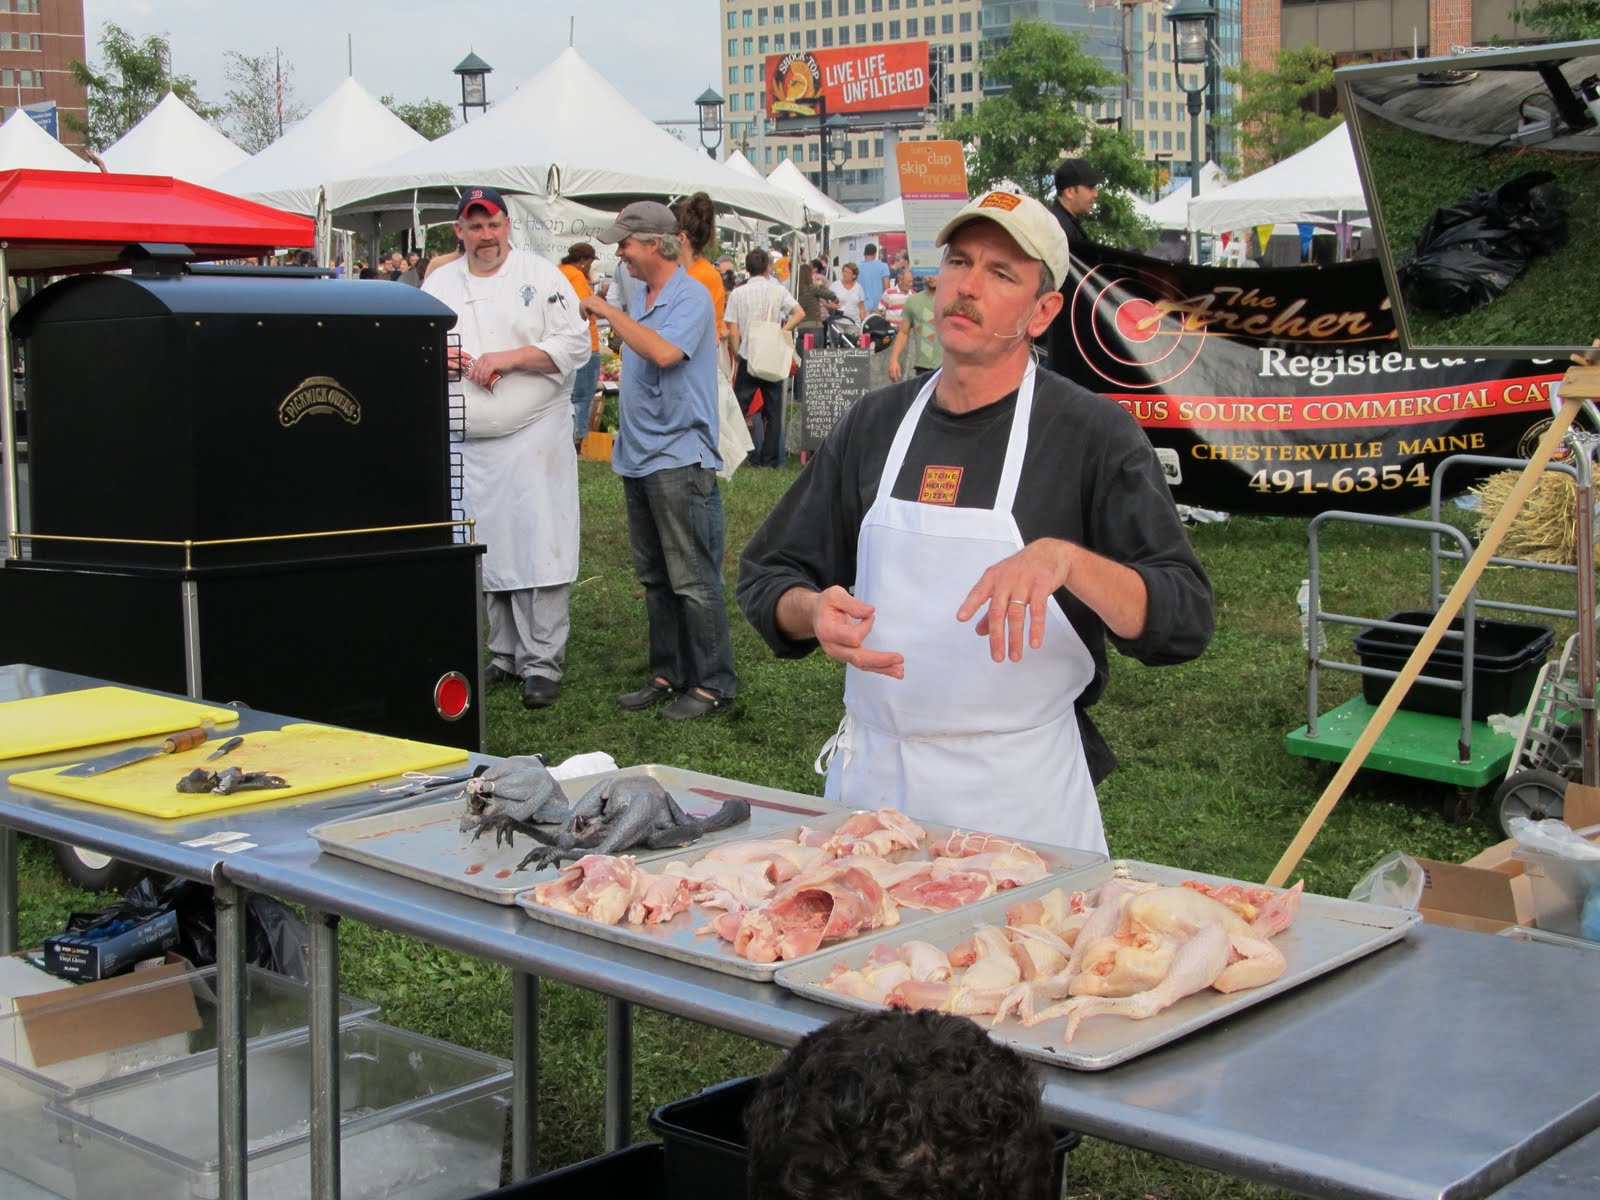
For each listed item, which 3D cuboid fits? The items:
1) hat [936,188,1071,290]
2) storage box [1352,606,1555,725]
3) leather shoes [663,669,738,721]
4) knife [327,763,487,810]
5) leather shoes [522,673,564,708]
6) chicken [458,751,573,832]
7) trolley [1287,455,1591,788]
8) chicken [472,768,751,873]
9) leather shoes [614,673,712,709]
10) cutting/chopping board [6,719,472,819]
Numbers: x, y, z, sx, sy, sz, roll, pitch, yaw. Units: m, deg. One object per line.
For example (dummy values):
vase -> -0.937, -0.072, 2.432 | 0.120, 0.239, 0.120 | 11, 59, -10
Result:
hat -> 0.436, -0.773, 3.378 | 0.268, 0.221, 0.298 | 0, 18, 6
storage box -> 2.733, 0.242, 6.682 | 0.760, 0.494, 0.664 | 8, 16, 37
leather shoes -> -0.473, 0.457, 7.674 | 0.340, 0.125, 0.183 | -4, 18, -43
knife -> -0.718, 0.350, 3.000 | 0.263, 0.042, 0.078 | -8, 22, -43
leather shoes -> -1.266, 0.441, 7.782 | 0.146, 0.156, 0.410 | 0, -4, -7
chicken -> -0.477, 0.323, 2.765 | 0.198, 0.087, 0.171 | 6, 26, -15
trolley -> 2.770, 0.056, 6.998 | 1.110, 1.197, 1.835 | 5, 11, 36
chicken -> -0.344, 0.337, 2.722 | 0.350, 0.142, 0.429 | 9, 14, 38
leather shoes -> -0.648, 0.434, 7.722 | 0.489, 0.179, 0.167 | 5, -2, -3
cutting/chopping board -> -1.074, 0.284, 3.075 | 0.698, 0.115, 0.534 | -12, 16, -43
